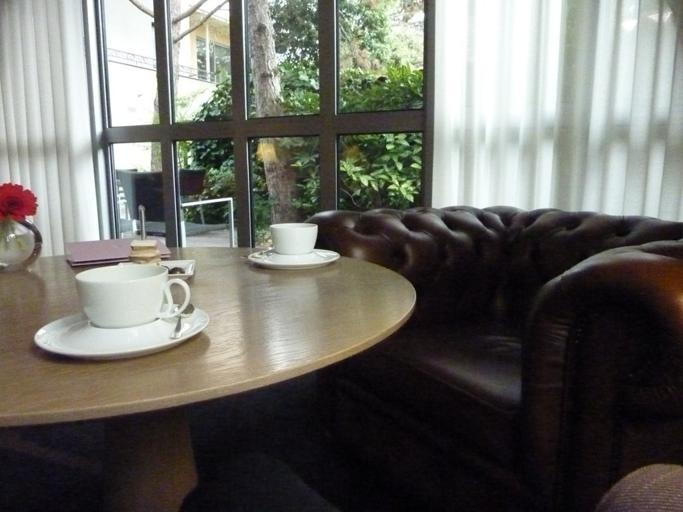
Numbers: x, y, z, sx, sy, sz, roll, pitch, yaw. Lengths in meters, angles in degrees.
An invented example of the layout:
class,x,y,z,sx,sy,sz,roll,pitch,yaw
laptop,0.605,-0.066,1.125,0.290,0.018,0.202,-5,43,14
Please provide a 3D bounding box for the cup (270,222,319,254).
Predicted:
class,x,y,z,sx,sy,sz,roll,pitch,yaw
cup,-0.121,-0.043,1.327,0.092,0.052,0.084,-3,13,1

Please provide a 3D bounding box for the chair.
class,x,y,z,sx,sy,sz,roll,pitch,yaw
chair,-1.087,-0.317,3.342,0.479,0.544,0.514,5,9,32

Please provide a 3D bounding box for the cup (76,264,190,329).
class,x,y,z,sx,sy,sz,roll,pitch,yaw
cup,-0.338,0.048,0.876,0.148,0.072,0.117,6,10,12
